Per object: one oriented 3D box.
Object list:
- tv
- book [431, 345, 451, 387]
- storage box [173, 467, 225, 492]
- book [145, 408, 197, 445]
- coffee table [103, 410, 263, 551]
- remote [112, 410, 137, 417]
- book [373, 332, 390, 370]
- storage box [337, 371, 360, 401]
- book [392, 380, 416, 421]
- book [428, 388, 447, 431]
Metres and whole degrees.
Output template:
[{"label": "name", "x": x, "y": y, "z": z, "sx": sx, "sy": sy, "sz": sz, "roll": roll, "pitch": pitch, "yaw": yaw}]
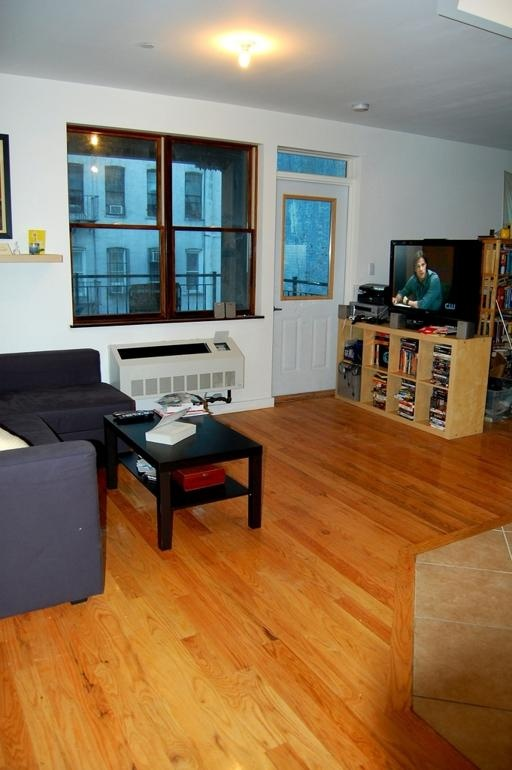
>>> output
[{"label": "tv", "x": 1.502, "y": -0.848, "z": 4.552, "sx": 0.079, "sy": 0.555, "sz": 0.718, "roll": -9, "pitch": 17, "yaw": -32}, {"label": "book", "x": 1.497, "y": -0.151, "z": 4.419, "sx": 0.075, "sy": 0.266, "sz": 0.194, "roll": 2, "pitch": 5, "yaw": -28}, {"label": "storage box", "x": -0.260, "y": 0.462, "z": 2.720, "sx": 0.144, "sy": 0.056, "sz": 0.142, "roll": -3, "pitch": 10, "yaw": -19}, {"label": "book", "x": -0.440, "y": 0.222, "z": 2.714, "sx": 0.124, "sy": 0.118, "sz": 0.179, "roll": 6, "pitch": 13, "yaw": 24}, {"label": "coffee table", "x": -0.299, "y": 0.239, "z": 2.677, "sx": 0.573, "sy": 0.436, "sz": 0.872, "roll": -4, "pitch": 14, "yaw": -29}, {"label": "remote", "x": -0.748, "y": 0.168, "z": 3.102, "sx": 0.114, "sy": 0.024, "sz": 0.067, "roll": 2, "pitch": 8, "yaw": 3}, {"label": "book", "x": 1.163, "y": -0.319, "z": 5.081, "sx": 0.065, "sy": 0.286, "sz": 0.264, "roll": 4, "pitch": 2, "yaw": -31}, {"label": "storage box", "x": 0.920, "y": 0.003, "z": 5.406, "sx": 0.084, "sy": 0.241, "sz": 0.251, "roll": -5, "pitch": 10, "yaw": -27}, {"label": "book", "x": 1.289, "y": 0.128, "z": 4.779, "sx": 0.084, "sy": 0.291, "sz": 0.207, "roll": 2, "pitch": 2, "yaw": -38}, {"label": "book", "x": 1.498, "y": 0.187, "z": 4.500, "sx": 0.076, "sy": 0.270, "sz": 0.186, "roll": 2, "pitch": -2, "yaw": -4}]
